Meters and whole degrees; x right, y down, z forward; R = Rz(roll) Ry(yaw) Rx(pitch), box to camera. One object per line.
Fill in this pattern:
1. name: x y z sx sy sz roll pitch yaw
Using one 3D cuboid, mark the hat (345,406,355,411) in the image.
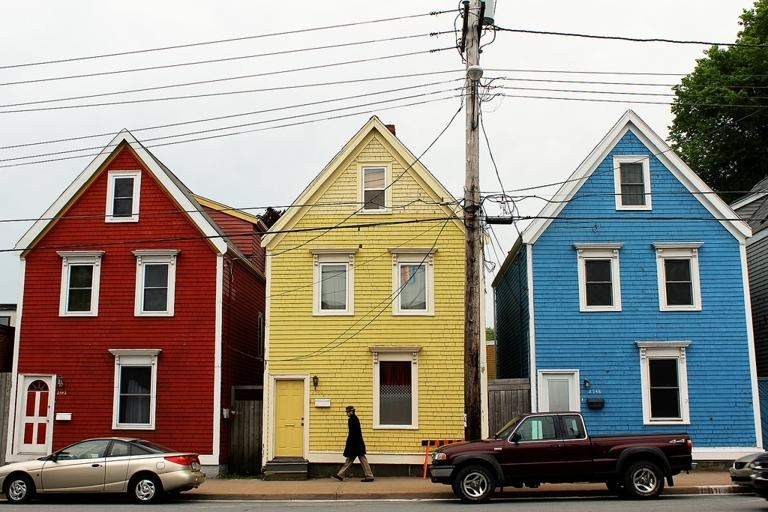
1. hat: -1.255 5.725 38.143 0.319 0.101 0.319 -3 -5 13
